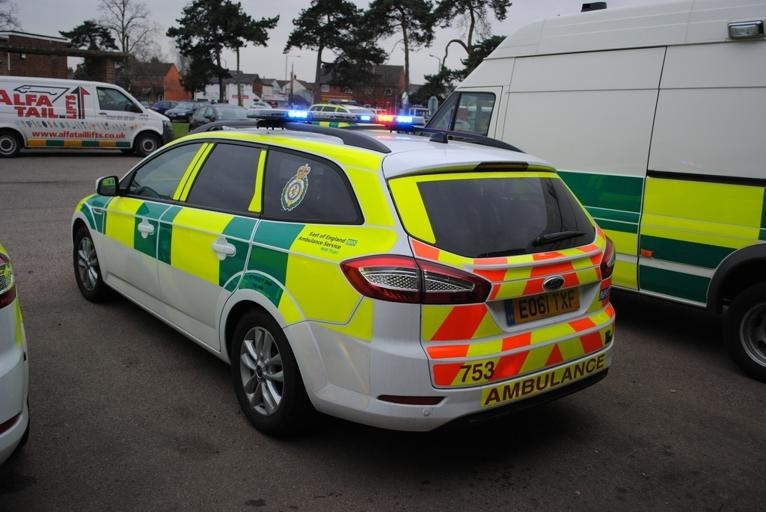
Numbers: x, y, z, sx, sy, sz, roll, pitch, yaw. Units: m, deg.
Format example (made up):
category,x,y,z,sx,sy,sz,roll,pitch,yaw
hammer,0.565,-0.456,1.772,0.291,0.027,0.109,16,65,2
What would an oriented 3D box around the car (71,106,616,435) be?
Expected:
category,x,y,z,sx,sy,sz,roll,pitch,yaw
car,-0.694,-0.209,4.580,2.145,1.668,4.376,-9,21,-44
